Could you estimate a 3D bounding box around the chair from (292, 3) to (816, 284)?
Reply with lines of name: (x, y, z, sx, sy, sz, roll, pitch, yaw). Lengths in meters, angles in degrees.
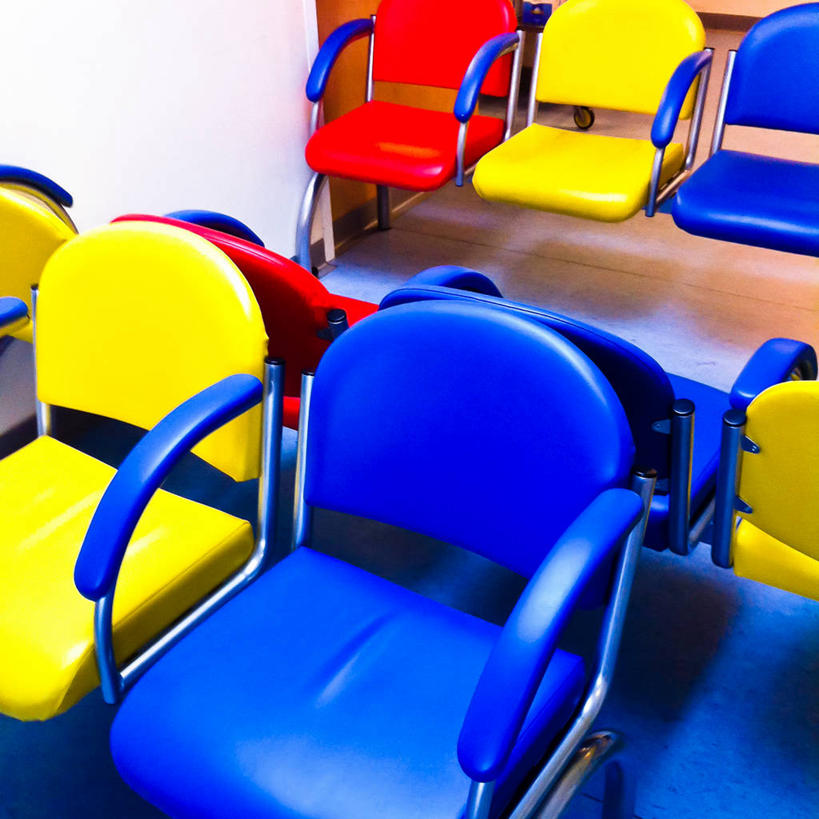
chair: (0.466, -0.945, 2.785, 1.505, 0.891, 0.673, 14, 56, 21)
